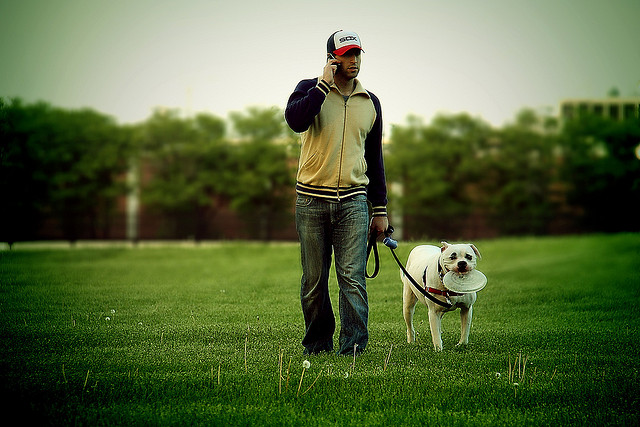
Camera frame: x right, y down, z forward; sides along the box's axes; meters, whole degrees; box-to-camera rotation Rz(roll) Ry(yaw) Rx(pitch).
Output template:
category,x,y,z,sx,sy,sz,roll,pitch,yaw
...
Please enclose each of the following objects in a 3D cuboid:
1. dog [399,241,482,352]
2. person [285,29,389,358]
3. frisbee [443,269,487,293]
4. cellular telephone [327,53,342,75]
category,x,y,z,sx,sy,sz,roll,pitch,yaw
dog,1.547,1.067,11.404,0.826,1.481,1.187,-8,14,-37
person,0.201,-0.248,10.709,1.256,4.106,0.822,1,11,3
frisbee,1.899,0.907,10.977,0.550,0.314,0.312,3,12,6
cellular telephone,0.188,-1.884,10.491,0.081,0.231,0.158,-16,22,-38
